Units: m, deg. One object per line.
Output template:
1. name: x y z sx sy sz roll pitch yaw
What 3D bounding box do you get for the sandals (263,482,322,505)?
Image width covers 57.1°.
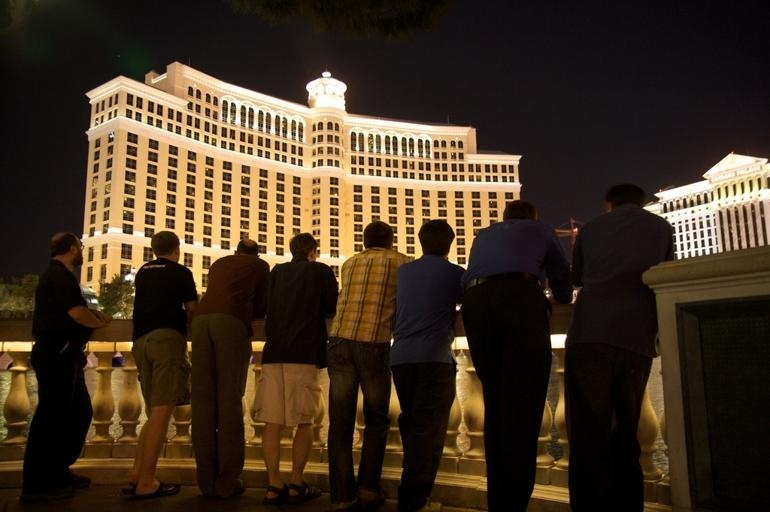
1. sandals: -0.987 2.483 7.462 0.392 0.123 0.246 5 -8 -32

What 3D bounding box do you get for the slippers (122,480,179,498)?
1. slippers: -2.514 2.514 7.610 0.454 0.131 0.235 2 -9 -24
